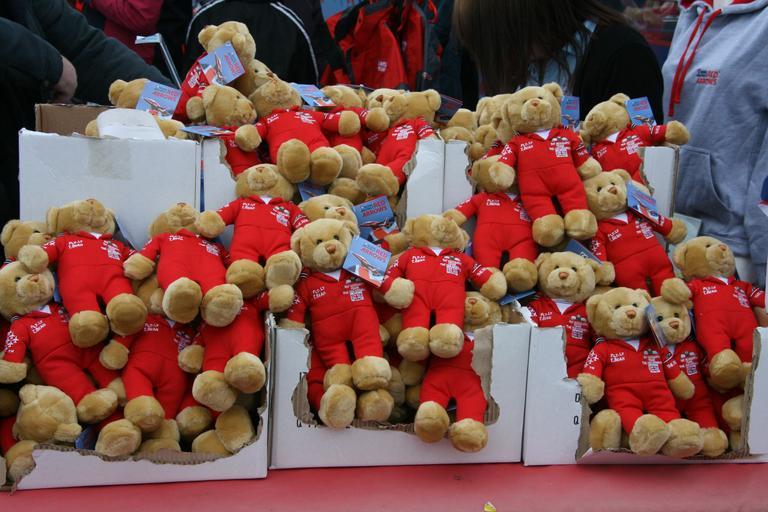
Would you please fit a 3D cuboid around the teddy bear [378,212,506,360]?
[{"bbox_3d":[0.164,0.162,2.849,0.379,0.509,0.183,2,-34,1],"label":"teddy bear"}]

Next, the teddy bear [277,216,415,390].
[{"bbox_3d":[-0.160,0.128,2.748,0.445,0.611,0.509,-13,16,-16],"label":"teddy bear"}]

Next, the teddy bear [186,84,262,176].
[{"bbox_3d":[-0.596,-0.457,2.937,0.181,0.338,0.271,-29,-5,29],"label":"teddy bear"}]

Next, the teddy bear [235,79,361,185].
[{"bbox_3d":[-0.348,-0.461,2.966,0.384,0.431,0.169,-12,-36,-26],"label":"teddy bear"}]

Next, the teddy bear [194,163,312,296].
[{"bbox_3d":[-0.464,-0.026,2.823,0.360,0.457,0.195,4,-38,-10],"label":"teddy bear"}]

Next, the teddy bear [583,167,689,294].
[{"bbox_3d":[0.900,-0.082,2.880,0.340,0.486,0.152,-13,-9,-14],"label":"teddy bear"}]

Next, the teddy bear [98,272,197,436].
[{"bbox_3d":[-0.797,0.337,2.667,0.305,0.461,0.136,25,-37,-36],"label":"teddy bear"}]

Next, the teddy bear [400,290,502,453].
[{"bbox_3d":[0.232,0.409,2.721,0.276,0.493,0.187,16,-26,-8],"label":"teddy bear"}]

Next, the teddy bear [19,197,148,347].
[{"bbox_3d":[-1.003,0.047,2.669,0.395,0.494,0.194,-2,-35,-38],"label":"teddy bear"}]

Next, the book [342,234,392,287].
[{"bbox_3d":[-0.062,0.015,2.687,0.149,0.158,0.037,25,-27,-5],"label":"book"}]

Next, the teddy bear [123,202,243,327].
[{"bbox_3d":[-0.657,0.040,2.655,0.313,0.392,0.140,9,-51,-30],"label":"teddy bear"}]

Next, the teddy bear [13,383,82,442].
[{"bbox_3d":[-1.083,0.511,2.599,0.147,0.157,0.197,41,-6,-5],"label":"teddy bear"}]

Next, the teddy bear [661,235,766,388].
[{"bbox_3d":[1.144,0.244,2.882,0.362,0.498,0.188,3,-32,-13],"label":"teddy bear"}]

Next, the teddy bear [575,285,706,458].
[{"bbox_3d":[0.843,0.393,2.697,0.381,0.605,0.208,-8,-44,11],"label":"teddy bear"}]

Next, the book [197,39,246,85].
[{"bbox_3d":[-0.627,-0.731,3.044,0.156,0.175,0.039,-23,-5,16],"label":"book"}]
